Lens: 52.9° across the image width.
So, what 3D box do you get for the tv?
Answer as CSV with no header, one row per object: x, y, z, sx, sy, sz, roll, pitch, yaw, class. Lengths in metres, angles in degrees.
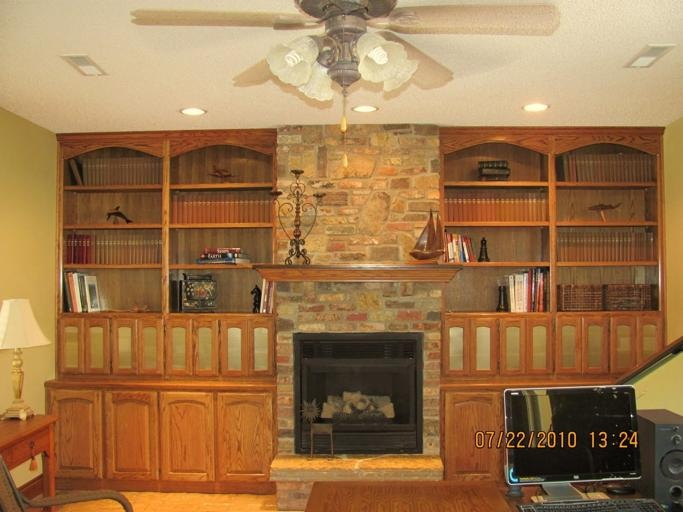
1.364,1.106,4.062,0.770,0.449,0.116,-1,-6,1,tv

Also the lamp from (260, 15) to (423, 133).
-0.027,-1.115,4.005,0.868,0.526,0.755,3,-5,-26,lamp

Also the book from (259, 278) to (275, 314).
-0.672,0.372,6.225,0.133,0.300,0.346,1,-3,0,book

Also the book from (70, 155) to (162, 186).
-2.070,-0.786,6.327,0.483,0.133,0.451,0,2,18,book

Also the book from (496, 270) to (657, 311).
2.144,0.307,6.247,1.440,0.395,0.166,0,-4,1,book
